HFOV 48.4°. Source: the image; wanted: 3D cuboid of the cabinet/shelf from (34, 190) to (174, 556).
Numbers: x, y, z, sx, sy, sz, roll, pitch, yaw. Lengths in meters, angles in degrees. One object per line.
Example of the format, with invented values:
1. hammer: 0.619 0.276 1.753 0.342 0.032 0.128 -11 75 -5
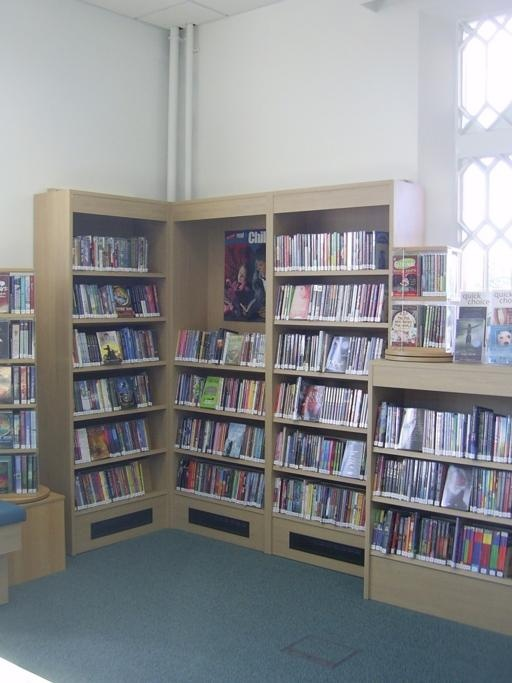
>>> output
1. cabinet/shelf: -1.006 0.168 3.873 0.486 2.329 0.979 -2 -4 38
